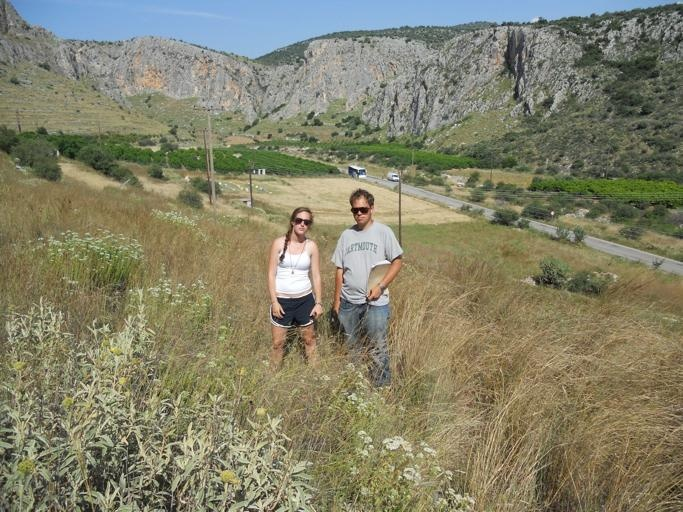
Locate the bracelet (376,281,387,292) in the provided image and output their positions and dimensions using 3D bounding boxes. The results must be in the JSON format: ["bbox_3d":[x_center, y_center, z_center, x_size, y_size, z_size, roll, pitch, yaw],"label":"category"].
[{"bbox_3d":[0.388,0.289,5.245,0.073,0.079,0.074,-2,-10,28],"label":"bracelet"}]

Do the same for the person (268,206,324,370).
[{"bbox_3d":[-0.471,0.421,5.410,0.477,1.847,0.445,0,14,-10],"label":"person"}]

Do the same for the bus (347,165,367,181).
[{"bbox_3d":[2.258,-12.513,81.039,1.277,1.373,4.812,-3,14,-6],"label":"bus"}]

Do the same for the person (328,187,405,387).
[{"bbox_3d":[0.277,0.151,5.342,0.673,1.466,1.312,2,15,-8],"label":"person"}]
